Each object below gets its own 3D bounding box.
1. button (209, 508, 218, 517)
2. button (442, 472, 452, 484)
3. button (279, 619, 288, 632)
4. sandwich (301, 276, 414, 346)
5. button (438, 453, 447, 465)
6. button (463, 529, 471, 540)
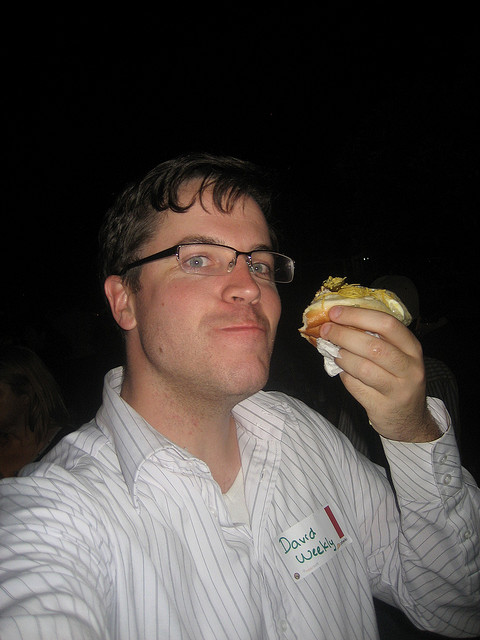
[{"bbox_3d":[-0.101,0.729,2.083,0.019,0.045,0.005,-30,23,25],"label":"button"},{"bbox_3d":[0.844,0.641,2.230,0.045,0.039,0.014,-14,14,-30],"label":"button"},{"bbox_3d":[0.163,1.129,2.028,0.037,0.040,0.007,2,-29,-34],"label":"button"},{"bbox_3d":[0.455,-0.080,2.322,0.328,0.357,0.394,-8,5,-39],"label":"sandwich"},{"bbox_3d":[0.826,0.565,2.233,0.041,0.036,0.010,-11,25,-36],"label":"button"},{"bbox_3d":[0.925,0.872,2.236,0.028,0.031,0.010,5,-8,2],"label":"button"}]
